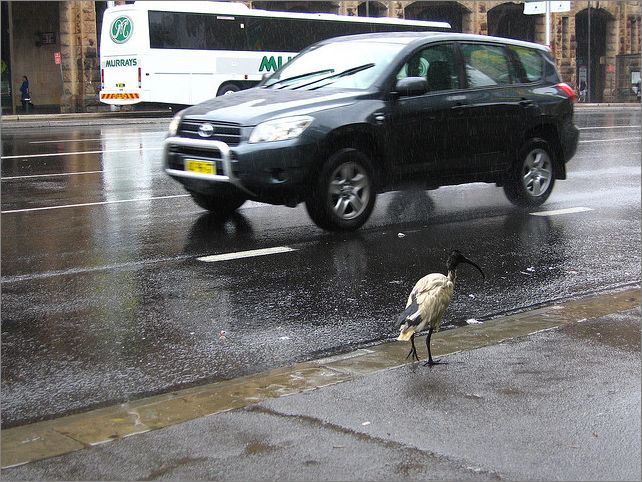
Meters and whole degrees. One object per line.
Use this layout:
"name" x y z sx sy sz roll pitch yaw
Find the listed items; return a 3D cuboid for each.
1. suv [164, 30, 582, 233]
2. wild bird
"suv" 0.941 -1.657 8.695 5.900 2.660 1.665 -8 13 -31
"wild bird" 0.697 0.459 3.911 0.266 0.694 0.590 4 13 25
